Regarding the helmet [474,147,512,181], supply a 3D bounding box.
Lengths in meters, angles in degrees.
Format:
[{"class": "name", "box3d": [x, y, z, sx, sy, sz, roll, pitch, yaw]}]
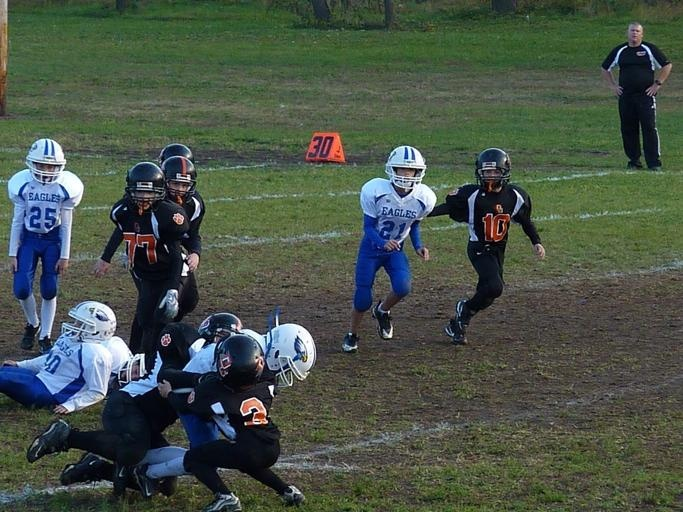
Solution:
[{"class": "helmet", "box3d": [1.919, -1.128, 17.326, 0.447, 0.412, 0.564, -2, 12, 9]}]

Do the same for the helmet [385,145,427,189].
[{"class": "helmet", "box3d": [0.788, -1.122, 17.251, 0.479, 0.446, 0.573, 2, 6, -9]}]

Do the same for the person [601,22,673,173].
[{"class": "person", "box3d": [5.310, -2.875, 24.551, 1.160, 2.620, 1.096, 1, 10, 10]}]

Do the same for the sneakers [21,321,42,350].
[{"class": "sneakers", "box3d": [-3.925, 1.023, 16.947, 0.127, 0.365, 0.157, 6, -32, -12]}]

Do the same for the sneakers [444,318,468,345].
[{"class": "sneakers", "box3d": [1.440, 0.959, 17.219, 0.272, 0.323, 0.269, 0, 9, 3]}]

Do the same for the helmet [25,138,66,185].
[{"class": "helmet", "box3d": [-3.691, -1.187, 17.180, 0.474, 0.481, 0.584, 4, 16, -25]}]

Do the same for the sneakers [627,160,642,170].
[{"class": "sneakers", "box3d": [5.303, -1.638, 24.686, 0.217, 0.077, 0.159, 13, 9, 22]}]

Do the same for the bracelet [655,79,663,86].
[{"class": "bracelet", "box3d": [5.596, -3.055, 24.011, 0.085, 0.126, 0.125, 3, 10, -34]}]

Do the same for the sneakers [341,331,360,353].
[{"class": "sneakers", "box3d": [0.095, 1.113, 17.080, 0.231, 0.255, 0.593, 3, -5, -1]}]

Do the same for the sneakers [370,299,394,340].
[{"class": "sneakers", "box3d": [0.487, 0.850, 17.318, 0.209, 0.536, 0.279, -14, -7, -42]}]
